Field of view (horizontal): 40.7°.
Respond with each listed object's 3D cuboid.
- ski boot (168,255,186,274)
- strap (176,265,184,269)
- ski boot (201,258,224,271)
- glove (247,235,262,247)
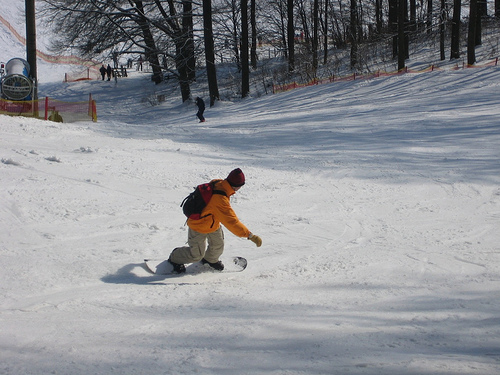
[{"bbox_3d":[-1.379,1.500,12.729,0.291,0.120,0.198,22,0,-12],"label":"ski boot"},{"bbox_3d":[-1.336,1.501,12.726,0.142,0.060,0.017,-8,14,-13],"label":"strap"},{"bbox_3d":[-0.653,1.462,12.805,0.534,0.174,0.162,11,10,-2],"label":"ski boot"},{"bbox_3d":[0.091,0.982,12.359,0.213,0.280,0.302,-7,13,8],"label":"glove"}]
